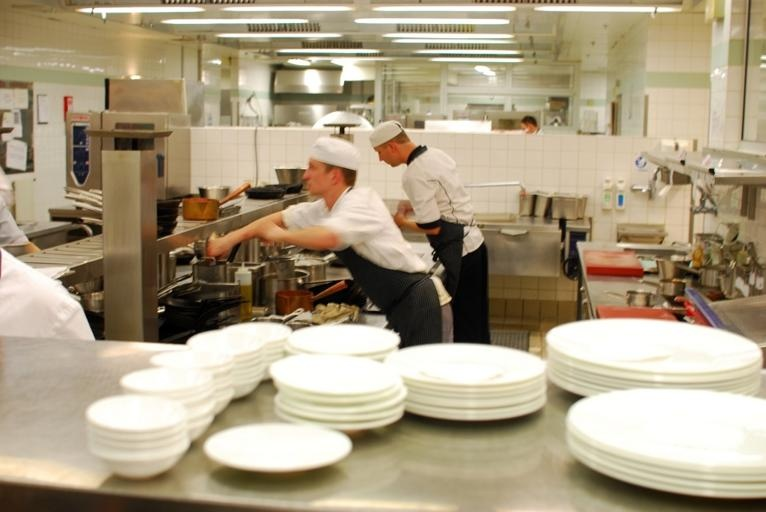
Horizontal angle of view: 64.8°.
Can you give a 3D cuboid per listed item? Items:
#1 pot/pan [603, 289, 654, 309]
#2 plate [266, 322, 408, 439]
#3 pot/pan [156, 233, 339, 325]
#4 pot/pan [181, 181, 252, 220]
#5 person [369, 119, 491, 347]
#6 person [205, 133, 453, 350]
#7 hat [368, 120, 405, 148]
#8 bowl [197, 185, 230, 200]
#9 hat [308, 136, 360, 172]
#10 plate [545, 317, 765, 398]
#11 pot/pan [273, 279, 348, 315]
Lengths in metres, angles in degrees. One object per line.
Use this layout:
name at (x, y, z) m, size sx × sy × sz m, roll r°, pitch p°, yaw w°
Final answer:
pot/pan at (1.423, 0.237, 3.449) m, size 0.298 × 0.106 × 0.120 m, roll -8°, pitch 11°, yaw -22°
plate at (-0.105, 0.290, 1.390) m, size 0.222 × 0.084 × 0.224 m, roll 0°, pitch 19°, yaw -5°
pot/pan at (-0.772, 0.104, 3.154) m, size 0.739 × 0.220 × 0.491 m, roll 0°, pitch 8°, yaw 3°
pot/pan at (-0.858, -0.267, 3.076) m, size 0.135 × 0.135 × 0.339 m, roll 4°, pitch 4°, yaw 20°
person at (0.425, -0.037, 5.128) m, size 0.978 × 2.079 × 0.787 m, roll -2°, pitch 22°, yaw -1°
person at (-0.231, 0.206, 3.543) m, size 1.320 × 1.700 × 0.827 m, roll -8°, pitch 20°, yaw -21°
hat at (0.050, -0.932, 4.626) m, size 0.261 × 0.131 × 0.184 m, roll -30°, pitch 34°, yaw -1°
bowl at (-0.979, -0.368, 3.513) m, size 0.157 × 0.060 × 0.153 m, roll -1°, pitch 1°, yaw 0°
hat at (-0.265, -0.556, 3.257) m, size 0.242 × 0.119 × 0.168 m, roll 4°, pitch 16°, yaw -16°
plate at (0.661, 0.253, 1.525) m, size 0.508 × 0.120 × 0.321 m, roll -1°, pitch 8°, yaw -3°
pot/pan at (-0.399, 0.231, 3.433) m, size 0.355 × 0.208 × 0.162 m, roll 3°, pitch 3°, yaw 5°
